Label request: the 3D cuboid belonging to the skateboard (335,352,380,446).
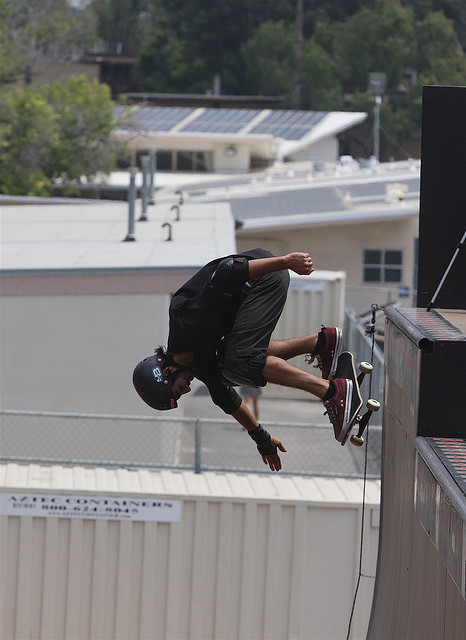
[{"bbox_3d":[1.572,1.008,18.979,0.179,1.320,0.464,17,-32,-30],"label":"skateboard"}]
